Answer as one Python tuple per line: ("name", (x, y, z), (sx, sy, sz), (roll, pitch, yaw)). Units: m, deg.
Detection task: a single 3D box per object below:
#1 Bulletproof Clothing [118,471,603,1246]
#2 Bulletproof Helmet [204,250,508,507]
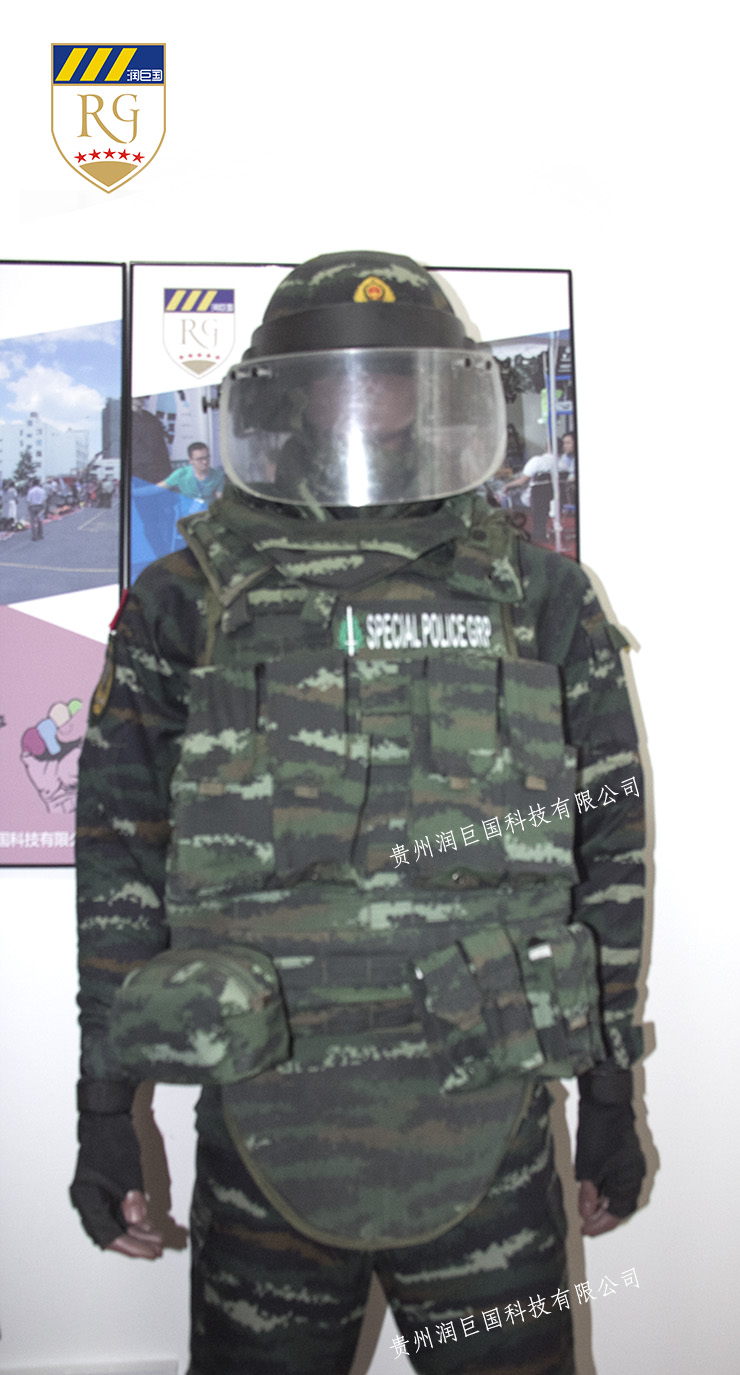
("Bulletproof Clothing", (-0.017, 0.147, 1.016), (0.426, 0.638, 0.227), (-1, 7, -7))
("Bulletproof Helmet", (-0.010, -0.258, 1.031), (0.233, 0.198, 0.250), (0, 10, -2))
